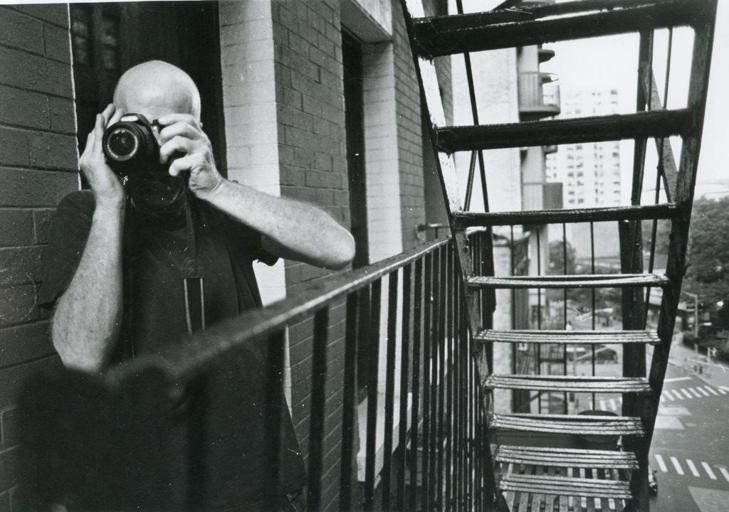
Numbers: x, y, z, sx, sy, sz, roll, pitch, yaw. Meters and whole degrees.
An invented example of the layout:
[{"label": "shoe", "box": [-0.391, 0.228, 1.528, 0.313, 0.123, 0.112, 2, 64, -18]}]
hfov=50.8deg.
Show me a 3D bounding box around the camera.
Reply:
[{"label": "camera", "box": [-0.972, -0.457, 3.095, 0.236, 0.227, 0.242, -3, 6, -11]}]
